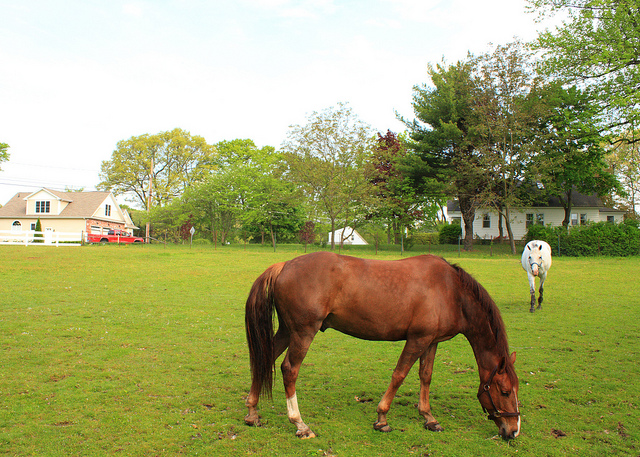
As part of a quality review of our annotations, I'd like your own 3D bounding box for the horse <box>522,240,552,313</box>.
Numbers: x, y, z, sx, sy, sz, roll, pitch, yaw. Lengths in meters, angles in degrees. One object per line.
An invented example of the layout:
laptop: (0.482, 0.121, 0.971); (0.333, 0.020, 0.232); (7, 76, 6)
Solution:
horse: (7.675, 1.645, 18.303); (0.830, 2.440, 2.116); (0, 0, 23)
